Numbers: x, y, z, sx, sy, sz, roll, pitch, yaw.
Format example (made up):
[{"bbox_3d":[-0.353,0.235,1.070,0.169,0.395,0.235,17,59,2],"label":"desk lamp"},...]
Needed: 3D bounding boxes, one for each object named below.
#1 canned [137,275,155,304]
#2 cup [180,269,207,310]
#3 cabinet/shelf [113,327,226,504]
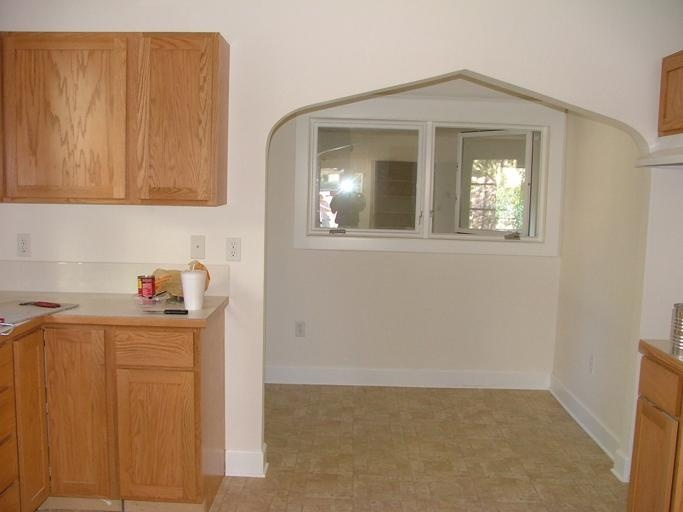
[{"bbox_3d":[-1.128,0.185,3.133,0.096,0.144,0.099,-3,13,-20],"label":"canned"},{"bbox_3d":[-0.840,0.186,3.070,0.118,0.215,0.171,4,12,12],"label":"cup"},{"bbox_3d":[-0.993,0.855,3.101,0.516,1.010,0.466,2,12,3],"label":"cabinet/shelf"}]
